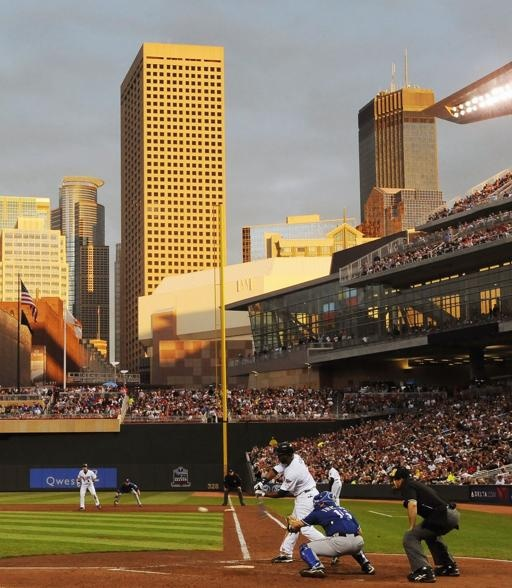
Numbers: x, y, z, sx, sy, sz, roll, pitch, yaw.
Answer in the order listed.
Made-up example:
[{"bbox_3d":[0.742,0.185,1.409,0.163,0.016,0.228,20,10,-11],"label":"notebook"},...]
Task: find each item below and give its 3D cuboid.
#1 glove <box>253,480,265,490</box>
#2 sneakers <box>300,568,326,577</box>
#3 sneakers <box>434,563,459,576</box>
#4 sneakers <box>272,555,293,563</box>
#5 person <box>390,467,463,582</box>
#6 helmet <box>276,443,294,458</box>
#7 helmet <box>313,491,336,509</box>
[{"bbox_3d":[0.068,3.655,20.229,0.169,0.217,0.083,15,7,-7],"label":"glove"},{"bbox_3d":[1.046,4.946,18.931,0.421,0.161,0.203,4,12,9],"label":"sneakers"},{"bbox_3d":[3.514,4.988,19.302,0.194,0.248,0.557,0,1,-14],"label":"sneakers"},{"bbox_3d":[0.525,5.028,20.284,0.380,0.185,0.161,6,-7,-4],"label":"sneakers"},{"bbox_3d":[3.118,4.091,19.140,1.082,2.009,1.051,-6,-7,18],"label":"person"},{"bbox_3d":[0.565,2.899,19.935,0.295,0.285,0.248,6,6,36],"label":"helmet"},{"bbox_3d":[1.284,3.737,19.424,0.316,0.314,0.282,23,-4,14],"label":"helmet"}]
